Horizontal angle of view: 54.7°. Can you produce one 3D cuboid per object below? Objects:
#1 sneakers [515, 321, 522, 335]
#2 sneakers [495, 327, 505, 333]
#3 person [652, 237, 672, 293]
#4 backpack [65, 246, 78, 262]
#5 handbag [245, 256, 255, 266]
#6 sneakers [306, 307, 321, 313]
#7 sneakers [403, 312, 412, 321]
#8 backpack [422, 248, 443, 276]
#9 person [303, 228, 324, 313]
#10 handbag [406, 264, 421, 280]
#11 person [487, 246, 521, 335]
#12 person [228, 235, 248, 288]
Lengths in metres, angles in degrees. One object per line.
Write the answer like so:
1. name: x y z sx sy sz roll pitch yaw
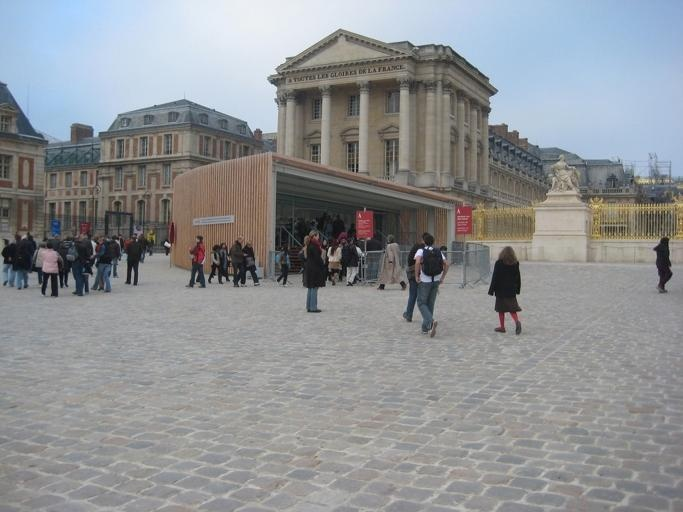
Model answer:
1. sneakers: 3.028 1.233 11.217 0.097 0.311 0.135 -2 6 3
2. sneakers: 2.796 1.292 11.561 0.178 0.094 0.204 0 2 11
3. person: 9.899 0.179 20.274 0.446 1.583 3.759 0 2 26
4. backpack: -7.551 -0.047 18.498 0.277 0.561 0.380 -2 -5 28
5. handbag: -3.084 0.172 22.228 0.294 0.304 0.159 -5 -3 -43
6. sneakers: -0.590 1.185 14.369 0.317 0.146 0.111 -1 1 -6
7. sneakers: 1.313 1.197 12.995 0.143 0.182 0.404 -1 -7 -2
8. backpack: 1.605 0.101 11.553 0.369 0.501 0.277 0 1 10
9. person: -0.610 0.324 14.510 0.435 1.803 0.952 0 1 -4
10. handbag: 1.361 0.319 12.700 0.229 0.343 0.260 6 -6 -36
11. person: 2.992 0.571 11.994 0.555 1.511 1.660 0 1 15
12. person: -3.488 0.200 22.420 0.467 1.632 1.024 0 1 -10
